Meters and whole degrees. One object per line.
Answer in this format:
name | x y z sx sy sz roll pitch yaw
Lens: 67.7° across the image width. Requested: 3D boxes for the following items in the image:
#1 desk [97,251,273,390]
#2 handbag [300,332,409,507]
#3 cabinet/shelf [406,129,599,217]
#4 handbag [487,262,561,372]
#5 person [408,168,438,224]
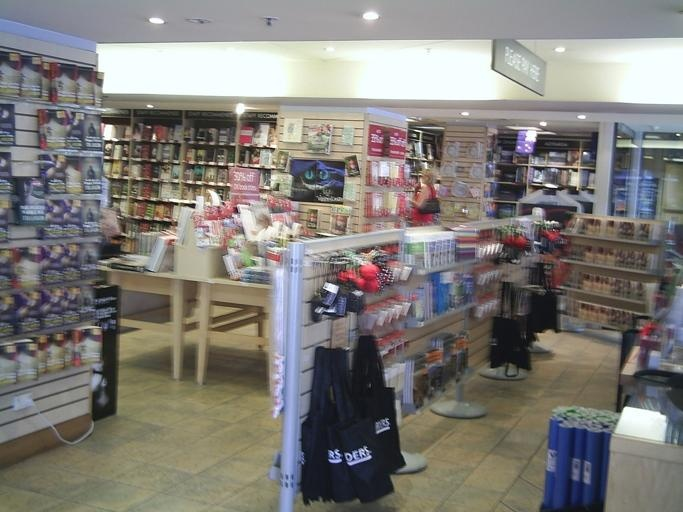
desk | -1.580 0.563 6.033 1.691 0.850 2.068 0 0 34
handbag | 0.084 1.086 3.347 0.627 1.063 0.537 5 7 8
cabinet/shelf | 4.166 -2.175 13.013 3.613 2.083 1.869 3 3 27
handbag | 2.463 0.783 6.641 0.706 0.733 2.171 2 8 20
person | 1.451 -0.993 8.788 0.483 0.999 0.748 5 7 7
